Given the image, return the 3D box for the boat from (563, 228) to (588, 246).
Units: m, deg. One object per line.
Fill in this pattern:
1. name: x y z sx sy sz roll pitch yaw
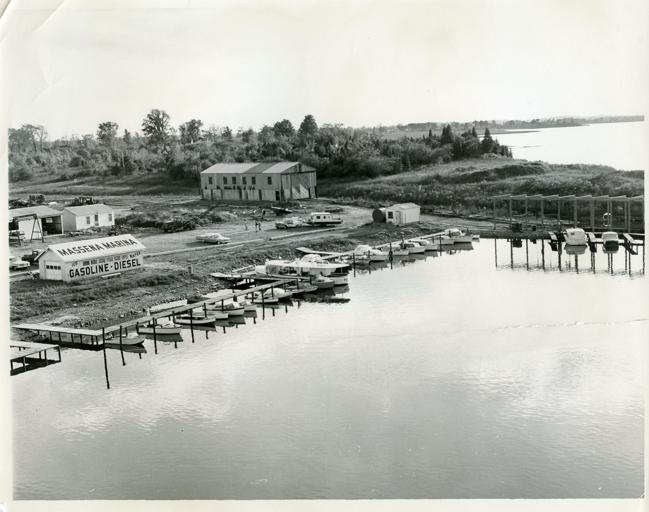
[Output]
1. boat: 9.530 -0.771 26.720 0.484 0.262 0.958 -2 15 7

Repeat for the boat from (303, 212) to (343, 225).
1. boat: -0.032 -1.448 27.662 0.963 0.366 0.686 -1 11 -6

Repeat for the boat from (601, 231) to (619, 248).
1. boat: 10.821 -0.619 26.315 0.600 0.561 0.665 -3 3 18

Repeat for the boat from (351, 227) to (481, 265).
1. boat: 3.394 -0.329 26.702 2.779 0.609 0.837 -13 21 -14

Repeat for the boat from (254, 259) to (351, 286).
1. boat: -0.801 0.472 21.816 2.226 0.788 1.176 2 9 5
